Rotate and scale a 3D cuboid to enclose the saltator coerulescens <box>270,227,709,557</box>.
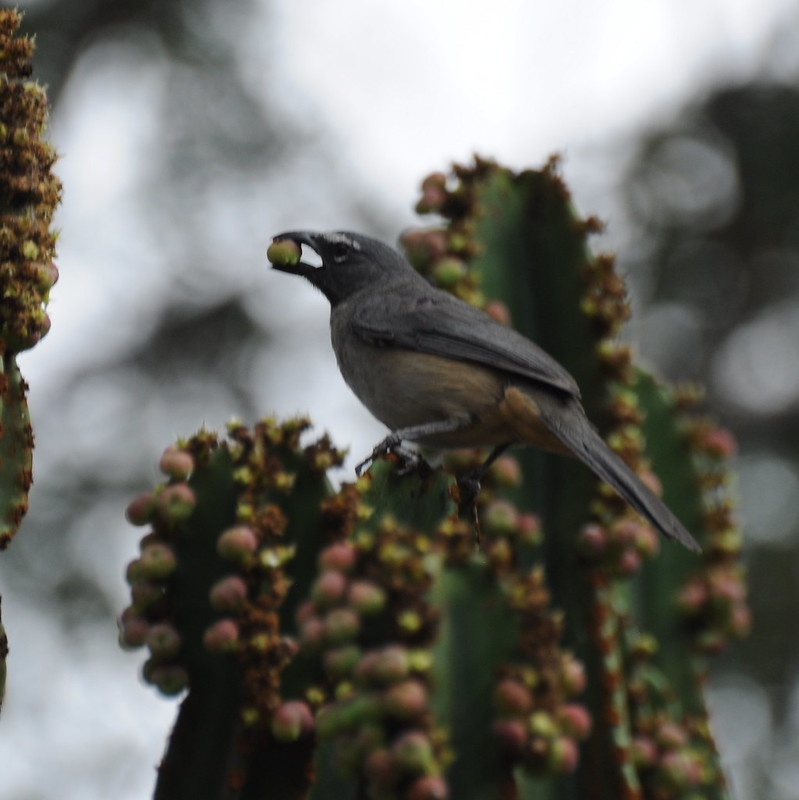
[{"bbox_3d":[0.167,-0.075,3.741,1.005,0.561,0.359,7,-8,17],"label":"saltator coerulescens"}]
